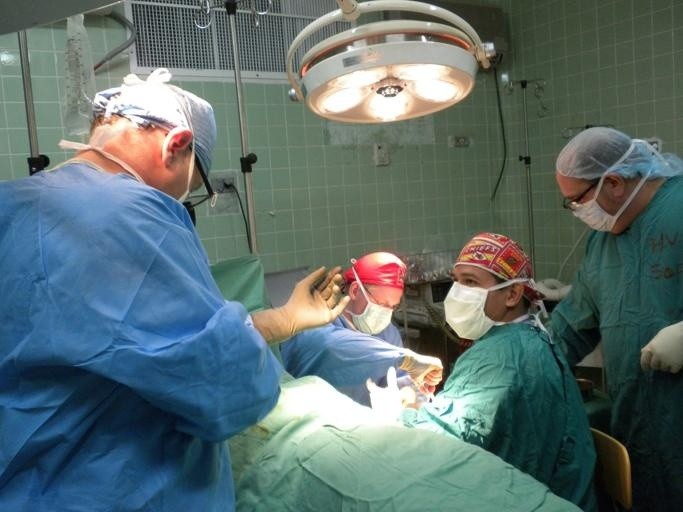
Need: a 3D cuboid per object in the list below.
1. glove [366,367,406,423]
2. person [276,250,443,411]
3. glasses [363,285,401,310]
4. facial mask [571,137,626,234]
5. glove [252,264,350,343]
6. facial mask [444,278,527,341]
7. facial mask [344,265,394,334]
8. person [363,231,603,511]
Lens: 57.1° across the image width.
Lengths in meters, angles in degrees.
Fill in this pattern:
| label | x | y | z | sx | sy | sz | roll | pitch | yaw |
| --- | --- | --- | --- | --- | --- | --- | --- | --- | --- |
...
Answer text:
| label | x | y | z | sx | sy | sz | roll | pitch | yaw |
| --- | --- | --- | --- | --- | --- | --- | --- | --- | --- |
| glove | 0.157 | 0.497 | 2.226 | 0.118 | 0.165 | 0.057 | -19 | 4 | -43 |
| person | 0.131 | 0.353 | 2.852 | 0.673 | 0.677 | 0.536 | -2 | -13 | 42 |
| glasses | 0.185 | 0.151 | 2.689 | 0.101 | 0.065 | 0.110 | 20 | 14 | -30 |
| facial mask | 1.011 | -0.270 | 2.480 | 0.144 | 0.273 | 0.214 | 32 | 24 | 0 |
| glove | -0.152 | 0.185 | 2.295 | 0.282 | 0.142 | 0.097 | -9 | -24 | -34 |
| facial mask | 0.513 | 0.188 | 2.287 | 0.212 | 0.174 | 0.204 | -4 | -1 | -2 |
| facial mask | 0.079 | 0.216 | 2.793 | 0.143 | 0.258 | 0.227 | -34 | -21 | 25 |
| person | 0.545 | 0.469 | 2.577 | 0.827 | 1.380 | 0.852 | -2 | -15 | 18 |
